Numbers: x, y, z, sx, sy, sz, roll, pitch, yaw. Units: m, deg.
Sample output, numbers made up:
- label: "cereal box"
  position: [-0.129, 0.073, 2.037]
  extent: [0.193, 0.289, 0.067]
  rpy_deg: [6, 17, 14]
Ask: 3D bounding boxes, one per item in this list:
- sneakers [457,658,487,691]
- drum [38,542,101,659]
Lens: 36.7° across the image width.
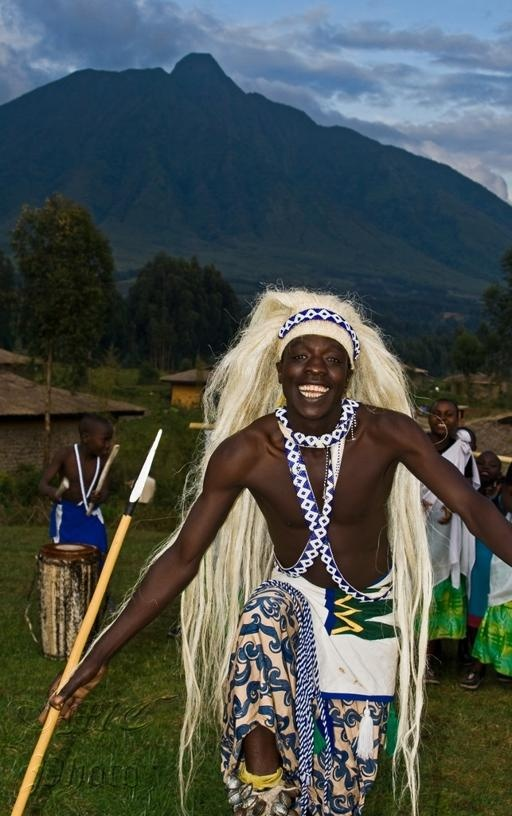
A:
- label: "sneakers"
  position: [1.448, 1.765, 5.134]
  extent: [0.127, 0.134, 0.367]
  rpy_deg: [-2, -5, 21]
- label: "drum"
  position: [-1.379, 1.370, 5.351]
  extent: [0.534, 0.709, 0.519]
  rpy_deg: [-2, -7, 0]
